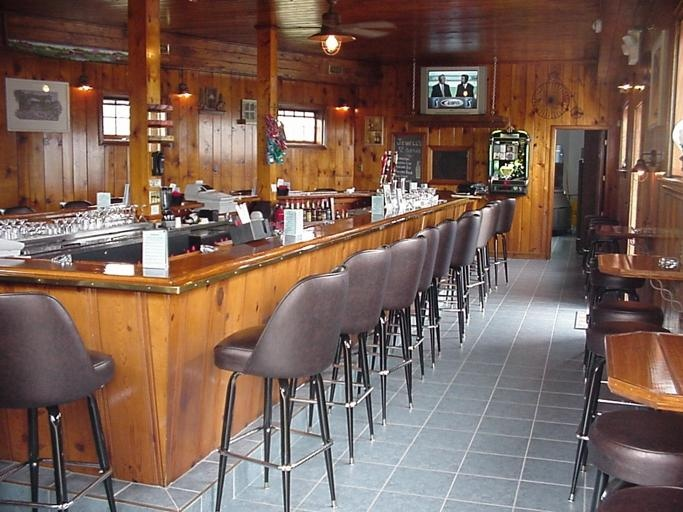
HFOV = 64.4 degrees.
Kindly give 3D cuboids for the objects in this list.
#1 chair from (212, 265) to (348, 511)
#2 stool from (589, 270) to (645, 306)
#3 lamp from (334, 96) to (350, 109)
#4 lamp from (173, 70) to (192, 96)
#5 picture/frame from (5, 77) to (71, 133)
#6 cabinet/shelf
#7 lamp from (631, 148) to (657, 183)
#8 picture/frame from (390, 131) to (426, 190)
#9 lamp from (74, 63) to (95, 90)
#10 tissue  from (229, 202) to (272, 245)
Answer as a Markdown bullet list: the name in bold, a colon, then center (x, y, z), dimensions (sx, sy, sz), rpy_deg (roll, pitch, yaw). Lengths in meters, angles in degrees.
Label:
- **chair**: center (-0.315, 0.679, 2.773), dimensions (0.667, 1.265, 0.565), rpy_deg (1, 11, 3)
- **stool**: center (2.279, 0.258, 4.495), dimensions (0.328, 0.379, 0.338), rpy_deg (1, 8, 23)
- **lamp**: center (0.021, -3.003, 10.766), dimensions (0.320, 0.252, 0.119), rpy_deg (-6, 13, -32)
- **lamp**: center (-2.592, -2.821, 8.861), dimensions (0.224, 0.444, 0.300), rpy_deg (10, 15, 42)
- **picture/frame**: center (-4.304, -2.107, 7.544), dimensions (0.036, 0.691, 0.817), rpy_deg (11, 14, 44)
- **cabinet/shelf**: center (2.080, -3.016, 9.842), dimensions (1.702, 1.129, 0.919), rpy_deg (5, 40, 18)
- **lamp**: center (3.110, -0.916, 5.572), dimensions (0.217, 0.329, 0.249), rpy_deg (0, 0, -23)
- **picture/frame**: center (1.312, -1.915, 10.804), dimensions (0.618, 1.177, 0.109), rpy_deg (3, 38, 12)
- **lamp**: center (-3.782, -2.623, 7.942), dimensions (0.184, 0.405, 0.236), rpy_deg (6, 12, 26)
- **tissue **: center (-0.618, -0.234, 3.629), dimensions (0.226, 0.241, 0.183), rpy_deg (-5, 4, 39)
